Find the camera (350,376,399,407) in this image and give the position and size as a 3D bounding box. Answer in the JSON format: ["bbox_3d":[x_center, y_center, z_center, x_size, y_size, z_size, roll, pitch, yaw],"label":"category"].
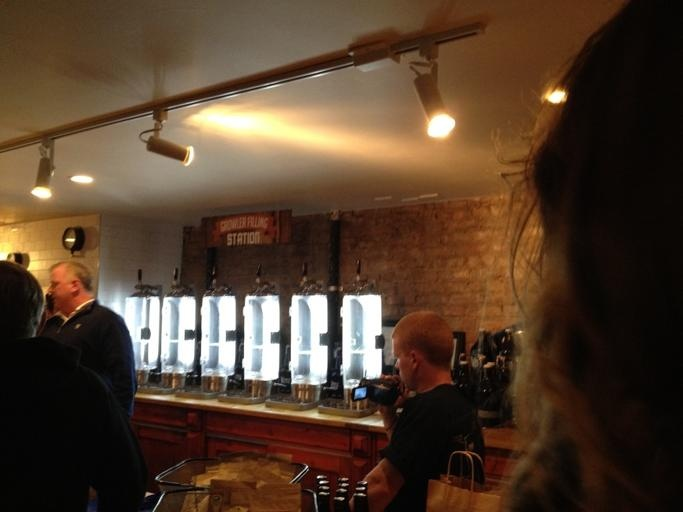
[{"bbox_3d":[0.197,0.676,2.777,0.185,0.129,0.191,13,-28,-24],"label":"camera"}]

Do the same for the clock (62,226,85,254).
[{"bbox_3d":[-2.836,-0.173,5.685,0.261,0.307,0.112,-2,-8,34],"label":"clock"}]
